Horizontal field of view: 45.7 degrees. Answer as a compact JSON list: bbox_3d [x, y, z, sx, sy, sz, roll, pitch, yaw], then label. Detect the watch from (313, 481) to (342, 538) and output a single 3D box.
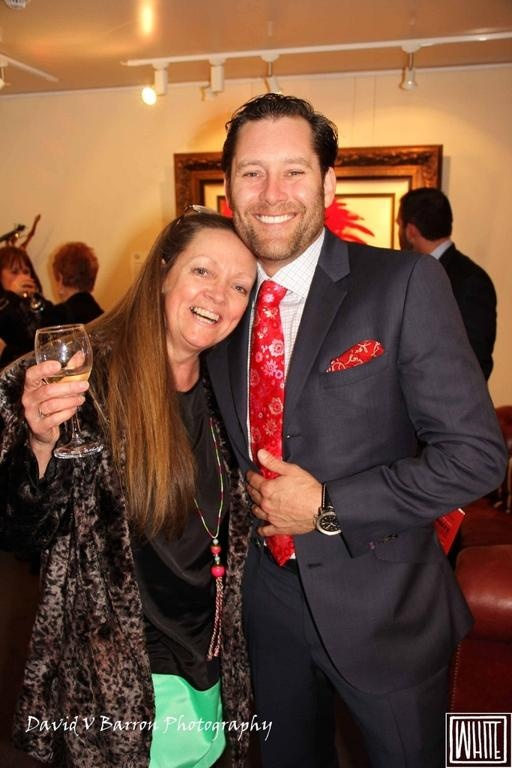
[{"bbox_3d":[0.154,0.268,1.309,0.067,0.104,0.098,-4,45,3],"label":"watch"}]
